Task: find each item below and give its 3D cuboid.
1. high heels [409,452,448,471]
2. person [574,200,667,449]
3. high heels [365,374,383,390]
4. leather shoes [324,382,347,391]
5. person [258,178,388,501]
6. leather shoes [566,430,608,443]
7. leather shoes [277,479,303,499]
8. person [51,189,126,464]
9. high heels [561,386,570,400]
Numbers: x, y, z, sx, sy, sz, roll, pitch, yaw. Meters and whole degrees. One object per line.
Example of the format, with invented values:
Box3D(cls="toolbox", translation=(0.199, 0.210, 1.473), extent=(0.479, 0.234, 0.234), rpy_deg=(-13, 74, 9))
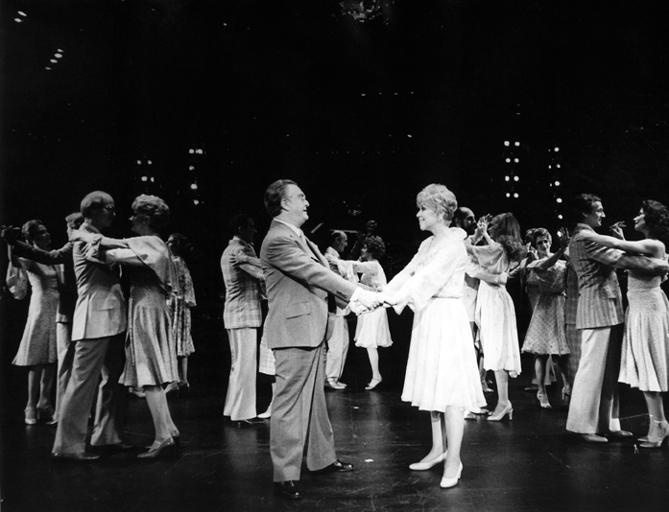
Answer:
Box3D(cls="high heels", translation=(0.757, 1.567, 5.123), extent=(0.360, 0.145, 0.121), rpy_deg=(-4, -3, -17))
Box3D(cls="person", translation=(2.394, 0.522, 5.617), extent=(0.785, 2.074, 0.423), rpy_deg=(2, 5, 17))
Box3D(cls="high heels", translation=(0.456, 1.414, 7.451), extent=(0.094, 0.088, 0.224), rpy_deg=(-23, -15, 22))
Box3D(cls="leather shoes", translation=(0.010, 1.456, 7.450), extent=(0.268, 0.106, 0.089), rpy_deg=(-1, 3, -5))
Box3D(cls="person", translation=(-0.162, 0.545, 4.936), extent=(0.759, 2.223, 0.706), rpy_deg=(-2, 6, -22))
Box3D(cls="leather shoes", translation=(2.162, 1.522, 5.667), extent=(0.343, 0.072, 0.236), rpy_deg=(2, 5, 23))
Box3D(cls="leather shoes", translation=(-0.321, 1.642, 4.670), extent=(0.087, 0.084, 0.197), rpy_deg=(3, -6, -43))
Box3D(cls="person", translation=(-1.951, 0.532, 5.280), extent=(0.630, 2.096, 0.383), rpy_deg=(-3, 6, -30))
Box3D(cls="high heels", translation=(2.419, 1.446, 6.945), extent=(0.062, 0.078, 0.189), rpy_deg=(0, 1, 23))
